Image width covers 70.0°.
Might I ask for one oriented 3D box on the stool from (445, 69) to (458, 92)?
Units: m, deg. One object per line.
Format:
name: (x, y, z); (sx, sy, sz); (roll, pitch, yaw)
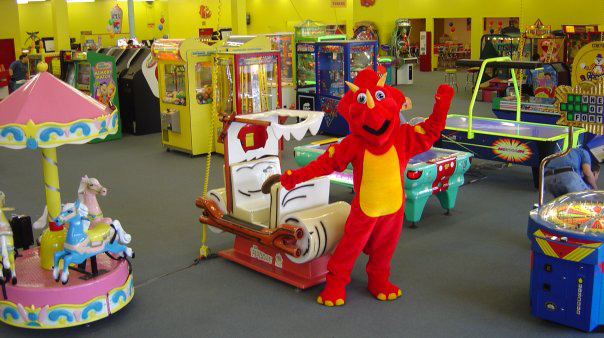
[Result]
stool: (5.990, -3.590, 17.261); (0.525, 0.687, 0.537); (-7, 10, -31)
